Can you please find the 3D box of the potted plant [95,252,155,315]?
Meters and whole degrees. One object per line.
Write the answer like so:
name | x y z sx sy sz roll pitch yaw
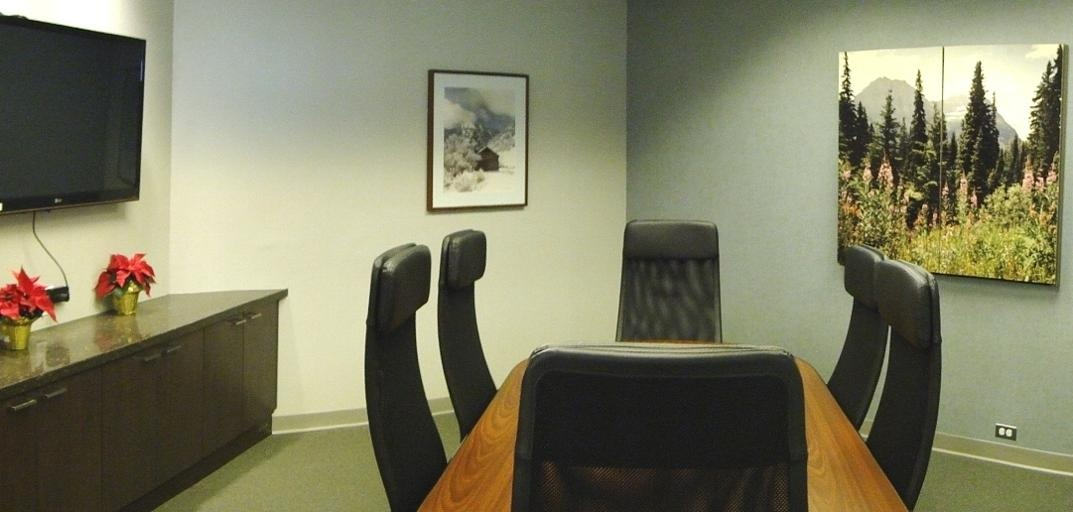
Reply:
potted plant | -3.710 0.286 6.695 0.520 0.444 0.475 4 3 -35

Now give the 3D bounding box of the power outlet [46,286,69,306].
power outlet | -4.066 0.327 6.307 0.153 0.121 0.198 -4 5 -25
